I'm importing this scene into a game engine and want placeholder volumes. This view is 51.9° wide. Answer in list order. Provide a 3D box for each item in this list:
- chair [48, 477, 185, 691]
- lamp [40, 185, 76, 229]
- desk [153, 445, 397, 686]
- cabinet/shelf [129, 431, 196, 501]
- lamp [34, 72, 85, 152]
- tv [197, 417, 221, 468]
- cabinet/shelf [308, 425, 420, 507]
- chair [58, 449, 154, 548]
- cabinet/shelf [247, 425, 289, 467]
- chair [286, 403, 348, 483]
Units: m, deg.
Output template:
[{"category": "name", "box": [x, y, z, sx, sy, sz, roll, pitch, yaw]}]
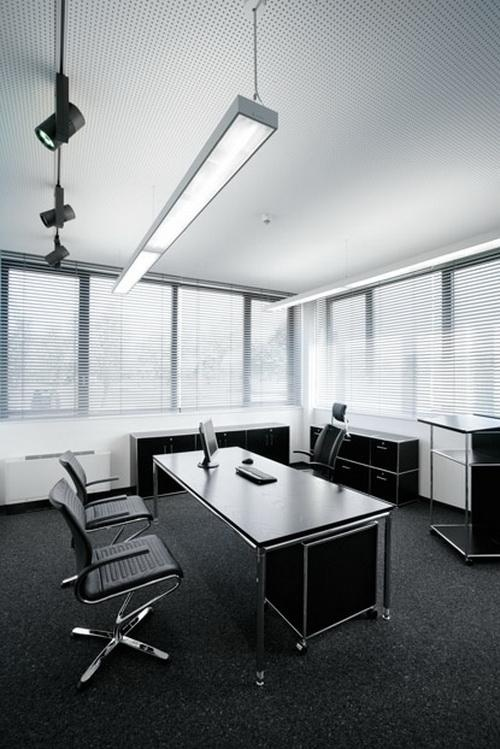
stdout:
[{"category": "chair", "box": [-0.666, 1.000, 2.612, 0.537, 0.876, 0.631, -2, 6, -7]}, {"category": "lamp", "box": [-1.164, -1.017, 3.105, 0.161, 0.233, 0.149, -1, 4, -13]}, {"category": "desk", "box": [0.134, 1.001, 3.114, 0.962, 0.672, 1.355, -3, 5, -29]}, {"category": "cabinet/shelf", "box": [-0.826, 0.847, 4.692, 0.562, 0.565, 0.274, -1, 1, -33]}, {"category": "lamp", "box": [-0.797, -1.099, 2.154, 0.178, 0.134, 0.321, -46, -2, -38]}, {"category": "tv", "box": [-0.319, 0.524, 3.913, 0.115, 0.351, 0.341, -2, 2, 9]}, {"category": "cabinet/shelf", "box": [1.150, 0.897, 5.445, 0.334, 0.665, 1.203, -5, 7, -37]}, {"category": "chair", "box": [-0.896, 0.816, 3.274, 0.498, 0.746, 0.443, -7, 8, -14]}, {"category": "cabinet/shelf", "box": [0.179, 0.762, 5.568, 0.412, 0.414, 0.161, -1, 1, -36]}, {"category": "chair", "box": [0.602, 0.655, 4.446, 0.422, 0.840, 0.426, 7, 5, -1]}]
